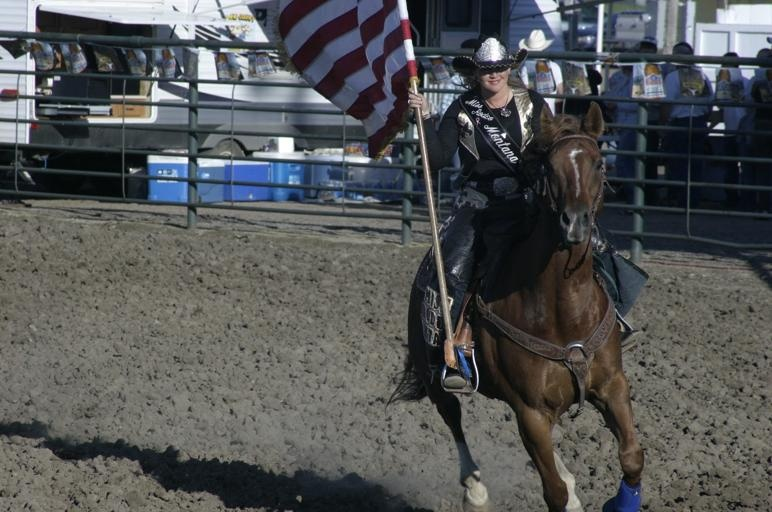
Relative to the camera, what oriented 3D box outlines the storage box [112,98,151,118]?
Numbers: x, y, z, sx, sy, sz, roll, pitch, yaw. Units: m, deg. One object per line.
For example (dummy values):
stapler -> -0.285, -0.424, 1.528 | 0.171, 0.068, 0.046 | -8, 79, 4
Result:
storage box -> -3.725, -2.124, 21.158 | 0.489, 0.335, 0.306 | 0, -2, -5
